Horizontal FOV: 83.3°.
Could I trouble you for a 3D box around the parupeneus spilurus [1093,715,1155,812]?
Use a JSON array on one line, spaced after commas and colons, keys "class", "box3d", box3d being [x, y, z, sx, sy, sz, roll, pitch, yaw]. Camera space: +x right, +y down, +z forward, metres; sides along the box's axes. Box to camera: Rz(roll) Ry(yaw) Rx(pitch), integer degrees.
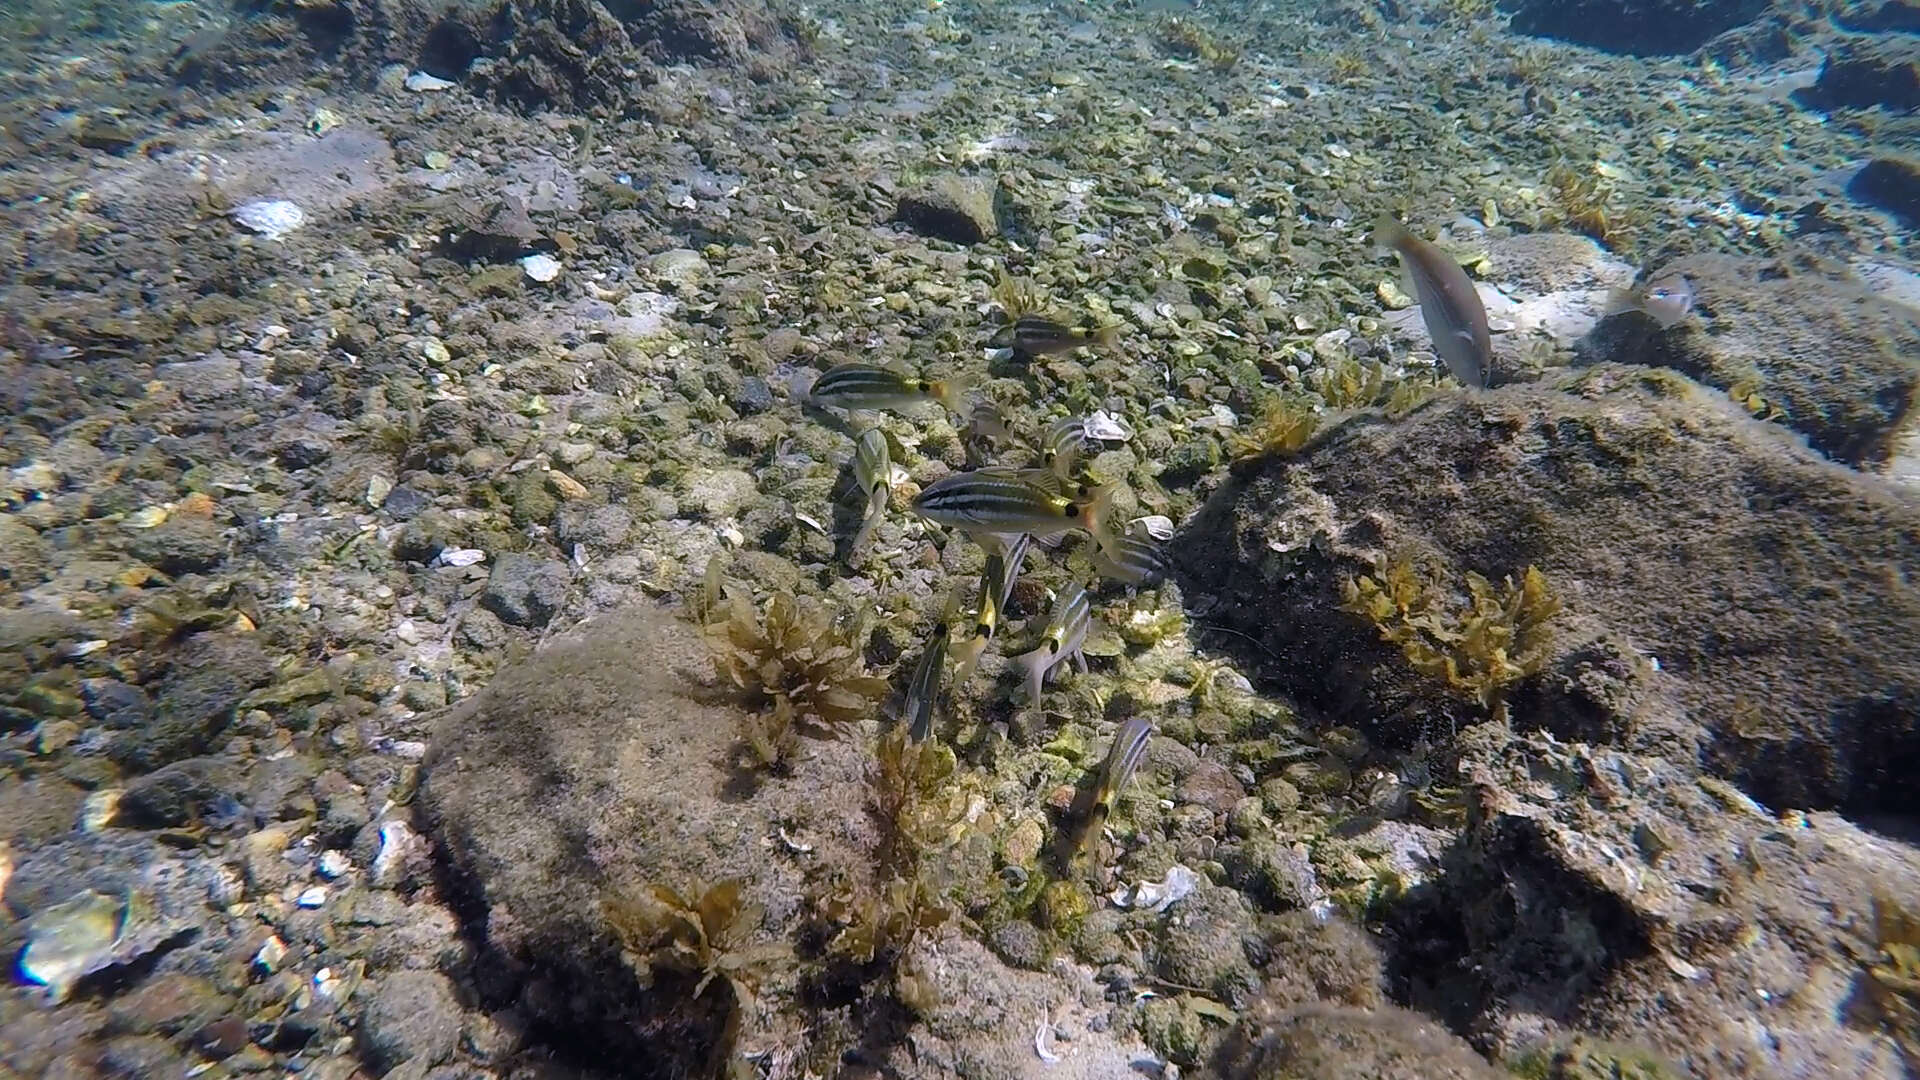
[{"class": "parupeneus spilurus", "box3d": [1.424, 1.885, 9.390, 0.311, 0.272, 1.002, 22, 81, 20]}]
